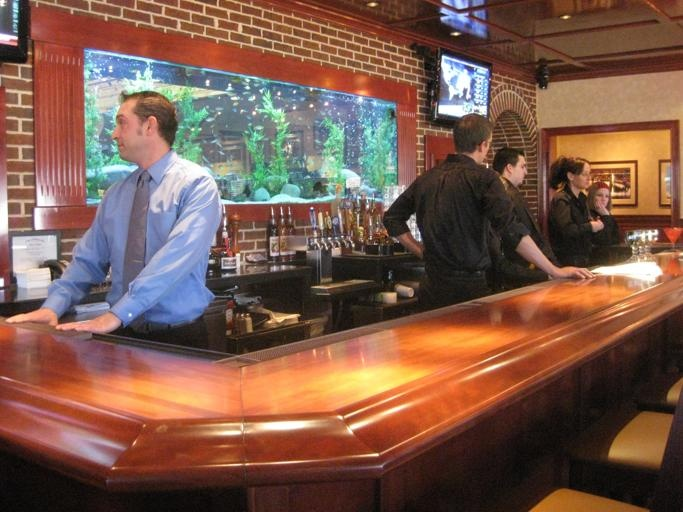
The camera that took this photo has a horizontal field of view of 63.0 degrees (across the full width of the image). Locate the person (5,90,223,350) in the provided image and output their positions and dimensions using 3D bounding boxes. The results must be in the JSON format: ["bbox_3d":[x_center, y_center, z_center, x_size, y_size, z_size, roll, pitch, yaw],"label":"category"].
[{"bbox_3d":[-0.816,-0.117,2.149,0.624,1.045,0.732,4,9,32],"label":"person"}]

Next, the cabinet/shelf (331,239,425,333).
[{"bbox_3d":[0.264,0.305,4.577,0.798,0.766,0.445,6,14,2],"label":"cabinet/shelf"}]

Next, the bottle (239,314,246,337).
[{"bbox_3d":[-0.575,0.390,3.205,0.041,0.094,0.069,-4,8,-19],"label":"bottle"}]

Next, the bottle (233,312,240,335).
[{"bbox_3d":[-0.610,0.388,3.213,0.045,0.095,0.085,-2,8,-6],"label":"bottle"}]

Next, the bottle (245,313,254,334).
[{"bbox_3d":[-0.550,0.383,3.259,0.053,0.100,0.160,-3,7,-10],"label":"bottle"}]

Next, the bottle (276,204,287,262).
[{"bbox_3d":[-0.490,-0.187,4.559,0.090,0.433,0.279,-2,8,-7],"label":"bottle"}]

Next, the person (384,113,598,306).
[{"bbox_3d":[0.717,-0.135,3.183,0.279,0.894,1.212,-8,10,-39],"label":"person"}]
